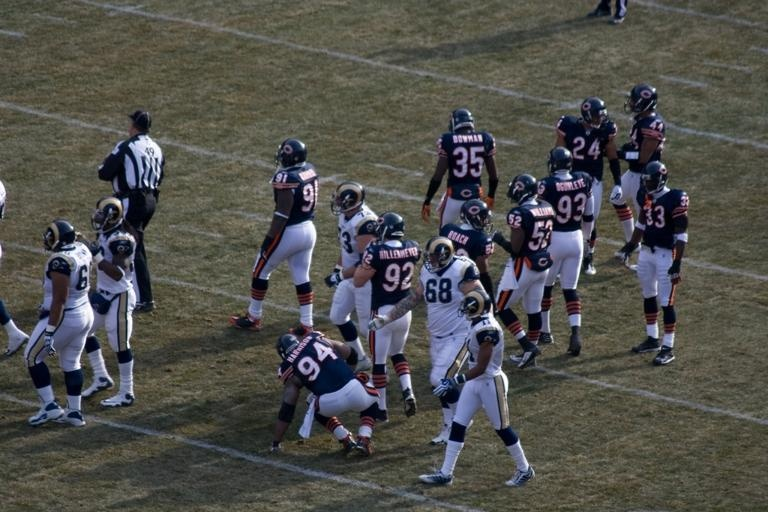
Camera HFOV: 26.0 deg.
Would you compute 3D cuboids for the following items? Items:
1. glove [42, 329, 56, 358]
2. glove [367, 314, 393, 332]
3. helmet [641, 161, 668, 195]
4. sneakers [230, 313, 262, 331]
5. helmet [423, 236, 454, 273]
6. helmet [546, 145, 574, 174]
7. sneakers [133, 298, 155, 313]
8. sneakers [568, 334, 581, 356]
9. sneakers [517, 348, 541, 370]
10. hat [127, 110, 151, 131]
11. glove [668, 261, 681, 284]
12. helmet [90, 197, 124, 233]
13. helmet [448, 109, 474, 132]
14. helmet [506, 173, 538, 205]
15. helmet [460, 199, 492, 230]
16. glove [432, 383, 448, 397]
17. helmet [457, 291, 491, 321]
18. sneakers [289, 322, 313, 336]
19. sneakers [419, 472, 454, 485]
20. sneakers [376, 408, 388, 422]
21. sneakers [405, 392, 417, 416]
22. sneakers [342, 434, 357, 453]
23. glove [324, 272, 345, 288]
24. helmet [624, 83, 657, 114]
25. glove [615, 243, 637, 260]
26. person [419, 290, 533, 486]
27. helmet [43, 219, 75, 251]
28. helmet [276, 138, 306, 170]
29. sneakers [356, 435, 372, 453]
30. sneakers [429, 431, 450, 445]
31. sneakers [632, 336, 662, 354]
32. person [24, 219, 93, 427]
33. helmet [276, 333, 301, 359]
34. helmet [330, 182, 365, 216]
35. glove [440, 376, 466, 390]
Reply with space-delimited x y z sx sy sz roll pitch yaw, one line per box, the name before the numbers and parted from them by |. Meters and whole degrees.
glove | -4.893 1.263 24.831 0.148 0.319 0.275 3 1 0
glove | -0.032 0.952 24.961 0.333 0.182 0.233 -25 -7 17
helmet | 4.234 -1.261 26.187 0.381 0.480 0.324 14 19 19
sneakers | -2.134 1.033 26.687 0.584 0.227 0.198 10 -17 2
helmet | 0.867 -0.067 24.736 0.575 0.445 0.423 -17 22 -1
helmet | 2.792 -1.575 26.540 0.414 0.402 0.420 -2 33 1
sneakers | -3.768 0.777 26.840 0.384 0.110 0.144 -7 -11 -4
sneakers | 2.994 1.369 26.225 0.198 0.351 0.160 1 44 -1
sneakers | 2.306 1.543 25.962 0.284 0.506 0.164 22 53 -10
hat | -3.841 -2.198 26.730 0.290 0.310 0.343 3 17 -16
glove | 4.554 0.219 26.042 0.216 0.404 0.112 -1 21 -28
helmet | -4.121 -0.649 25.367 0.635 0.500 0.466 2 18 -5
helmet | 1.258 -2.258 27.521 0.439 0.430 0.480 0 20 -7
helmet | 2.151 -1.090 26.083 0.545 0.391 0.390 -2 25 34
helmet | 1.425 -0.665 25.546 0.563 0.421 0.392 4 19 -6
glove | 0.847 1.904 24.194 0.196 0.205 0.075 47 12 -12
helmet | 1.373 0.664 24.163 0.512 0.351 0.346 10 39 15
sneakers | -1.152 1.092 25.435 0.455 0.189 0.135 4 60 -30
sneakers | 0.813 3.186 24.391 0.544 0.192 0.173 5 14 0
sneakers | 0.018 2.383 25.179 0.257 0.199 0.138 1 8 -3
sneakers | 0.470 2.201 24.951 0.185 0.354 0.170 -7 31 -4
sneakers | -0.476 2.742 24.693 0.157 0.360 0.167 -19 49 -13
glove | -0.731 0.322 25.783 0.207 0.272 0.353 1 17 -21
helmet | 4.451 -2.700 28.153 0.604 0.454 0.454 9 21 21
glove | 4.070 -0.103 28.073 0.515 0.198 0.165 -25 42 -26
person | 1.486 1.927 24.201 1.394 2.825 0.762 9 18 1
helmet | -4.705 -0.368 24.861 0.551 0.404 0.391 -1 23 22
helmet | -1.398 -1.706 26.395 0.551 0.413 0.399 19 26 33
sneakers | -0.248 2.760 24.696 0.189 0.126 0.290 0 16 -43
sneakers | 0.882 2.685 24.889 0.375 0.211 0.137 0 0 8
sneakers | 4.152 1.379 26.299 0.609 0.217 0.189 -1 9 -4
person | -4.747 0.979 24.959 0.971 3.024 1.025 5 19 -12
helmet | -1.349 1.305 24.791 0.298 0.291 0.274 44 44 19
helmet | -0.450 -0.945 25.972 0.611 0.458 0.438 5 25 -2
glove | 1.039 1.779 24.239 0.350 0.274 0.243 8 17 2
